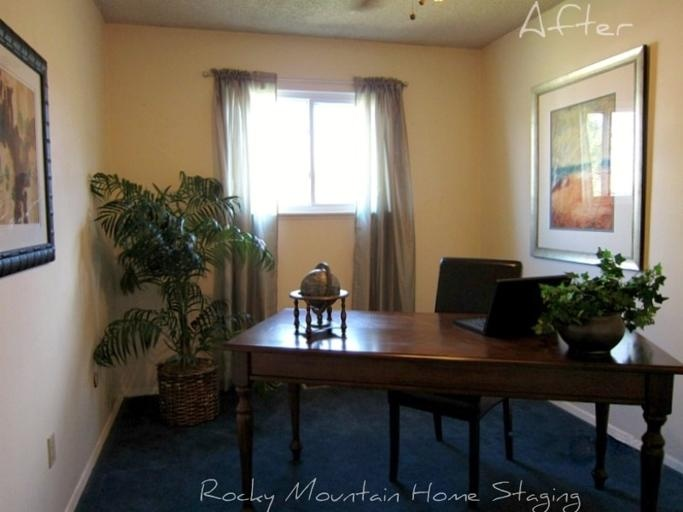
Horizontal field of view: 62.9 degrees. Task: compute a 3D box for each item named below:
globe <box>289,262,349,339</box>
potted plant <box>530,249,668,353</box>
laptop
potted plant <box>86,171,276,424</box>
[{"bbox_3d":[-0.128,0.241,3.230,0.330,0.413,0.354,1,5,5],"label":"globe"},{"bbox_3d":[1.294,0.205,2.794,0.409,0.390,0.447,0,13,-14],"label":"potted plant"},{"bbox_3d":[0.945,0.273,2.971,0.373,0.293,0.342,-5,6,-19],"label":"laptop"},{"bbox_3d":[-1.330,0.268,4.463,1.388,1.858,1.108,-8,12,-33],"label":"potted plant"}]
